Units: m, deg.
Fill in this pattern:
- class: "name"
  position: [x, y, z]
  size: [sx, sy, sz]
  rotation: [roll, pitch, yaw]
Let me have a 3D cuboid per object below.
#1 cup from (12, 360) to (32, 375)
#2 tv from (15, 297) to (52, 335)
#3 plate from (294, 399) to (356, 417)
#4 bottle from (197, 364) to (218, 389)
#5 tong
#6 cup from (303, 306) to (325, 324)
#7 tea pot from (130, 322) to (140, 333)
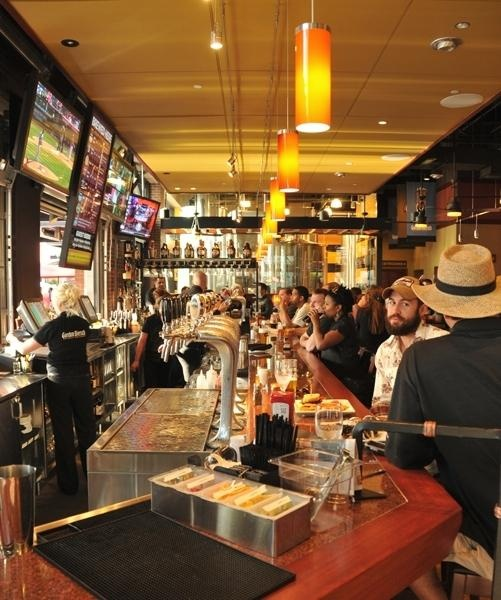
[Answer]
- class: "cup"
  position: [-1.914, 0.563, 4.114]
  size: [0.072, 0.114, 0.133]
  rotation: [2, -1, 33]
- class: "tv"
  position: [-1.927, 0.149, 4.345]
  size: [0.110, 0.264, 0.299]
  rotation: [-21, 7, 5]
- class: "plate"
  position: [0.390, 0.568, 2.618]
  size: [0.227, 0.033, 0.214]
  rotation: [1, 2, 2]
- class: "bottle"
  position: [-0.302, 0.552, 3.517]
  size: [0.121, 0.145, 0.061]
  rotation: [2, 5, 8]
- class: "tong"
  position: [0.223, 0.499, 1.329]
  size: [0.079, 0.164, 0.206]
  rotation: [-4, -2, 27]
- class: "cup"
  position: [0.831, 0.182, 6.443]
  size: [0.211, 0.265, 0.280]
  rotation: [9, -10, 12]
- class: "tea pot"
  position: [-1.805, 0.426, 7.780]
  size: [0.173, 0.190, 0.163]
  rotation: [2, 8, 0]
